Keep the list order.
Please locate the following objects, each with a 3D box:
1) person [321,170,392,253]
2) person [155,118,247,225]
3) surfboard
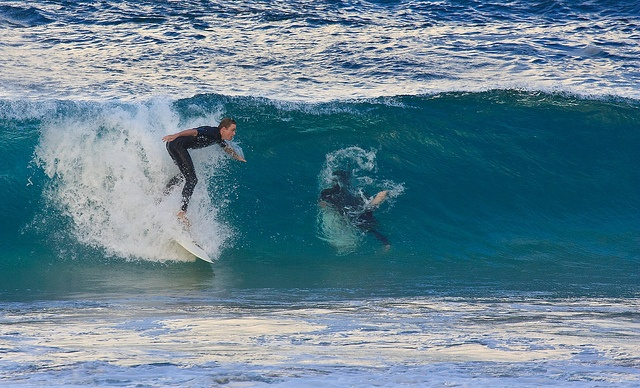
[{"bbox_3d":[0.956,0.332,22.671,1.852,1.874,1.015,2,6,16],"label":"person"},{"bbox_3d":[-3.068,-0.544,21.174,1.688,2.661,0.531,0,6,-8],"label":"person"},{"bbox_3d":[-3.768,0.979,21.513,0.532,2.328,0.325,-57,3,-37],"label":"surfboard"}]
